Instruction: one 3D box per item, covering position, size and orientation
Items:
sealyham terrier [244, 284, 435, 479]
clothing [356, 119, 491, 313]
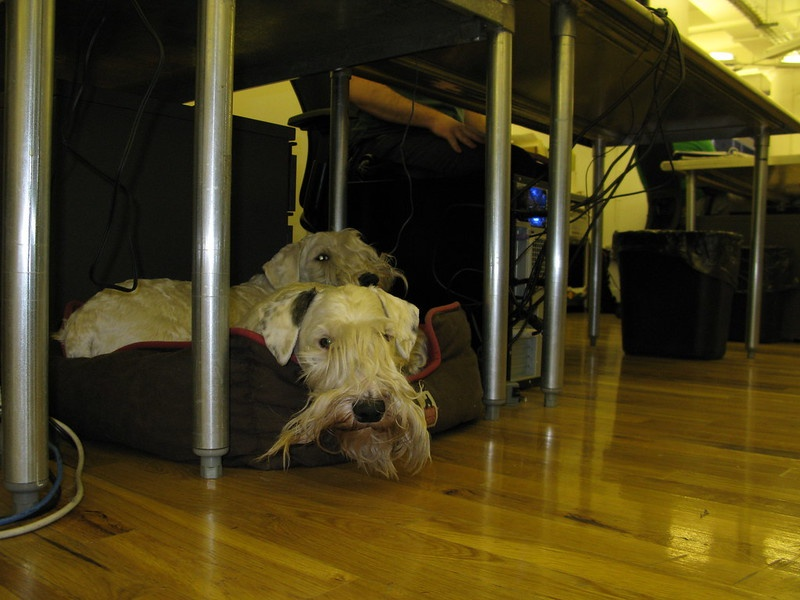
[{"bbox_3d":[-0.134,0.182,1.921,0.591,0.350,0.963,1,1,42],"label":"sealyham terrier"},{"bbox_3d":[0.094,-0.335,2.768,0.615,0.675,0.572,4,14,1],"label":"clothing"}]
